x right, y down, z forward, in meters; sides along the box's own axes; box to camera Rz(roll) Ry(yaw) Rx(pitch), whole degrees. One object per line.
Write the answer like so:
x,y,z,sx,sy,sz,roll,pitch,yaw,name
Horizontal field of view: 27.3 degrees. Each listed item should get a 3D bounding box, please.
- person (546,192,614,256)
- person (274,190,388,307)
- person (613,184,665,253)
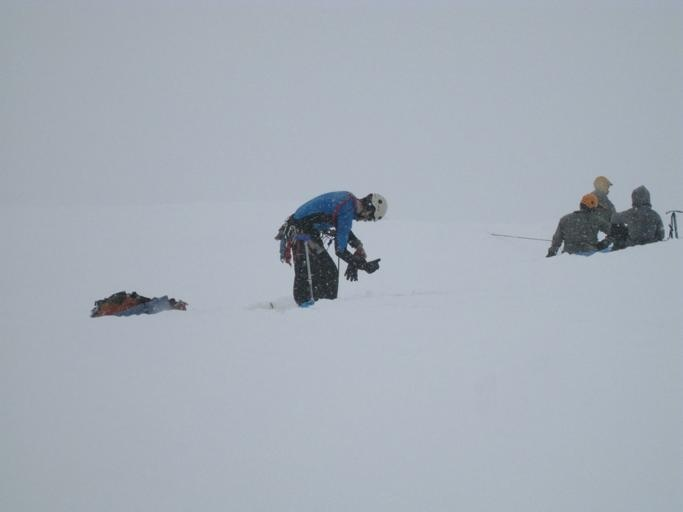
2.766,-0.279,16.021,0.481,0.306,0.878,12,-66,4,person
-0.123,-0.056,16.740,1.163,0.685,1.586,7,-62,-4,person
3.678,-0.270,17.216,0.608,1.187,0.329,1,-17,8,person
